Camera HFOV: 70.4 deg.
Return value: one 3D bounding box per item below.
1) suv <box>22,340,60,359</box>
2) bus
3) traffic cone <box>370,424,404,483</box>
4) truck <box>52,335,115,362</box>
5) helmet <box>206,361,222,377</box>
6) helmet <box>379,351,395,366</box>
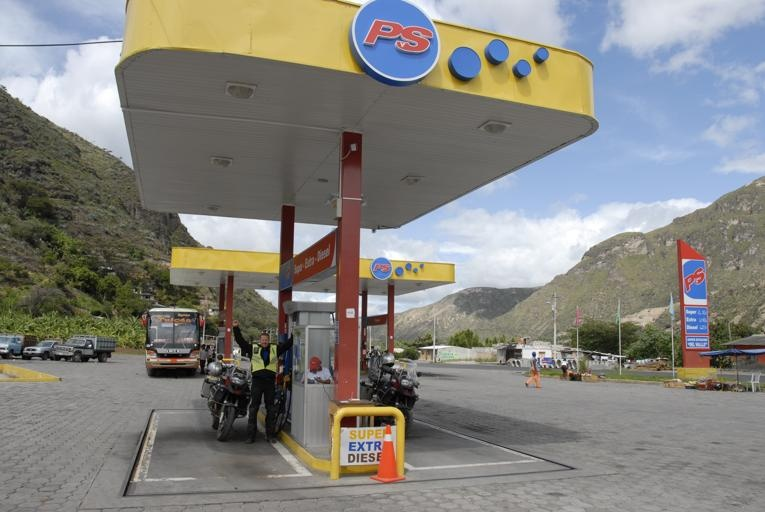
[{"bbox_3d":[-24.658,6.778,39.236,1.237,1.066,2.344,1,-15,-9],"label":"suv"},{"bbox_3d":[-10.609,4.382,27.691,1.815,2.348,4.796,2,-8,-18],"label":"bus"},{"bbox_3d":[0.109,3.789,10.355,0.555,0.987,0.468,9,-12,-36],"label":"traffic cone"},{"bbox_3d":[-21.800,6.944,40.363,1.932,1.529,3.598,-5,-17,17],"label":"truck"},{"bbox_3d":[-4.186,2.823,13.515,0.395,0.379,0.315,-12,0,17],"label":"helmet"},{"bbox_3d":[0.166,2.693,13.999,0.300,0.366,0.395,6,-5,-22],"label":"helmet"}]
